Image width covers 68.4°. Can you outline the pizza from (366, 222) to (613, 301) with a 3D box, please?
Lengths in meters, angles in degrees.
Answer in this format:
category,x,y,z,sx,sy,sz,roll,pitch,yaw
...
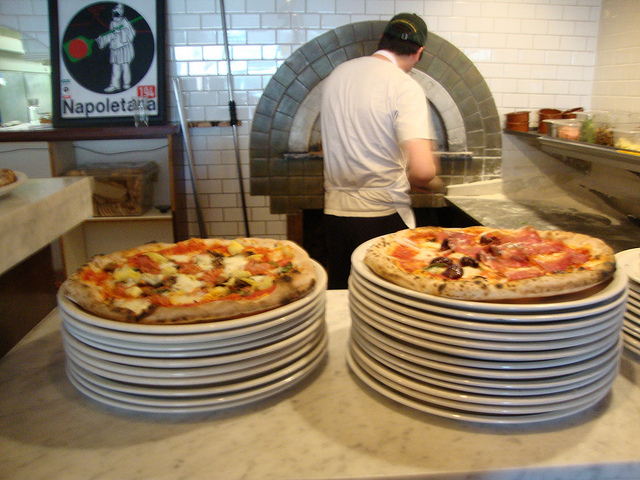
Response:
category,x,y,z,sx,sy,sz,roll,pitch,yaw
pizza,0.366,0.038,1.026,0.506,0.052,0.469,-4,16,-3

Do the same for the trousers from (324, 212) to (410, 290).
category,x,y,z,sx,sy,sz,roll,pitch,yaw
trousers,0.187,0.026,2.411,0.363,0.391,0.371,6,11,-4

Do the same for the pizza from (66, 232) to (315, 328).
category,x,y,z,sx,sy,sz,roll,pitch,yaw
pizza,-0.252,0.073,1.050,0.492,0.058,0.474,8,22,22
